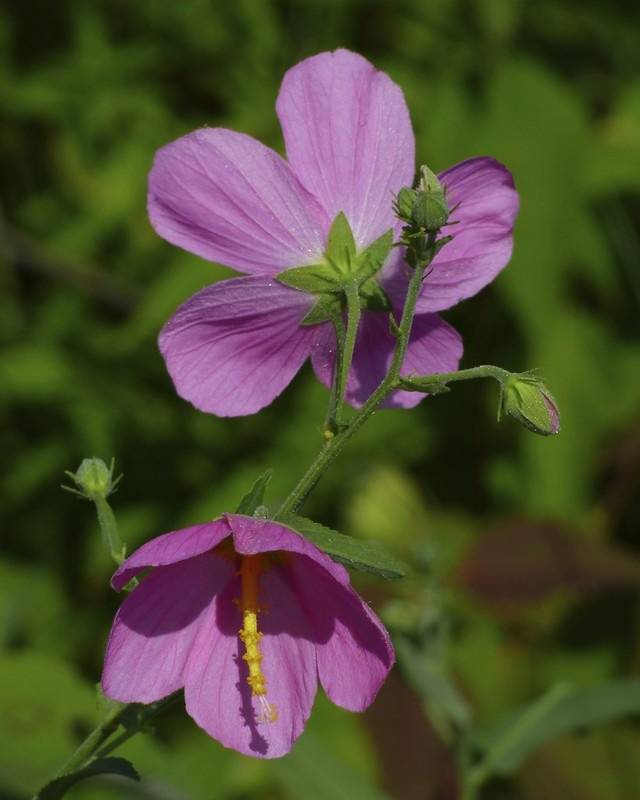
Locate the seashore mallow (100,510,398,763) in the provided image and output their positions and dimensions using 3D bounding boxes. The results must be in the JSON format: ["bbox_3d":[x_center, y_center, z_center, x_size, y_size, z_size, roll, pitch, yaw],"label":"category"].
[{"bbox_3d":[-0.079,0.228,0.923,0.276,0.286,0.128,17,45,-20],"label":"seashore mallow"}]

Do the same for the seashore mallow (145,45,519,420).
[{"bbox_3d":[0.011,-0.180,1.017,0.411,0.276,0.339,-7,65,-6],"label":"seashore mallow"}]
